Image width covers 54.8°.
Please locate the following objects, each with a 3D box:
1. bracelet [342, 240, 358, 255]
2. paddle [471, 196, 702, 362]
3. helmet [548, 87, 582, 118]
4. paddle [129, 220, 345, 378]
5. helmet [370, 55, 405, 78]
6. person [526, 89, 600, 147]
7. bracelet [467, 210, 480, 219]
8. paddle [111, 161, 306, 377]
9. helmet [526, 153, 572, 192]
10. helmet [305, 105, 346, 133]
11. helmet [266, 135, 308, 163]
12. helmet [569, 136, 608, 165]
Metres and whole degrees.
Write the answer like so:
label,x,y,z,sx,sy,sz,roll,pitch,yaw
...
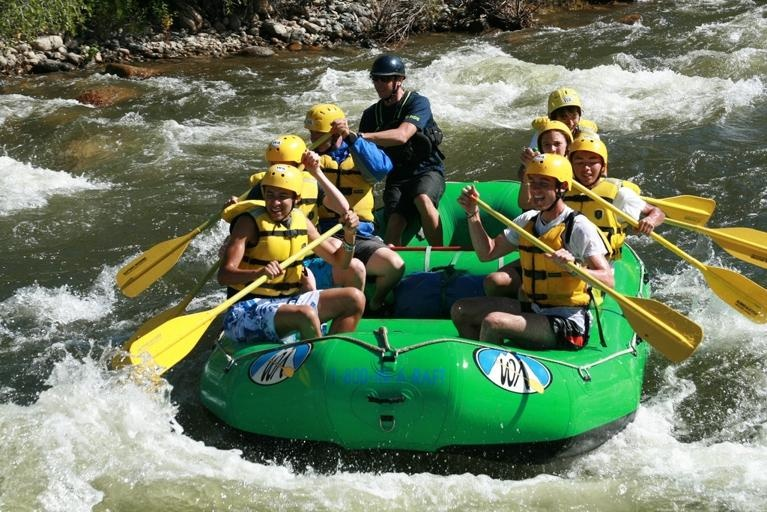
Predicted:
label,x,y,z,sx,sy,sz,roll,pitch,yaw
bracelet,-0.316,-0.080,6.812,0.160,0.083,0.195,2,3,-3
paddle,1.899,0.183,7.068,2.414,0.389,0.181,40,6,38
helmet,1.954,-1.682,8.016,0.334,0.257,0.358,1,32,10
paddle,-1.308,0.445,6.808,2.428,0.197,0.415,-35,63,-3
helmet,0.069,-2.025,7.848,0.309,0.133,0.245,6,-1,-34
person,1.909,-1.553,7.950,0.711,0.898,0.589,-1,29,7
bracelet,0.817,-0.382,6.792,0.143,0.065,0.181,-2,8,13
paddle,-1.053,0.208,6.814,2.865,0.112,0.911,-38,59,-17
helmet,1.455,-0.756,6.411,0.393,0.265,0.274,-1,8,-25
helmet,-0.536,-1.355,7.293,0.381,0.216,0.266,7,8,-28
helmet,-0.871,-0.976,6.880,0.292,0.226,0.328,13,5,43
helmet,1.960,-1.009,7.069,0.241,0.296,0.242,5,12,16
